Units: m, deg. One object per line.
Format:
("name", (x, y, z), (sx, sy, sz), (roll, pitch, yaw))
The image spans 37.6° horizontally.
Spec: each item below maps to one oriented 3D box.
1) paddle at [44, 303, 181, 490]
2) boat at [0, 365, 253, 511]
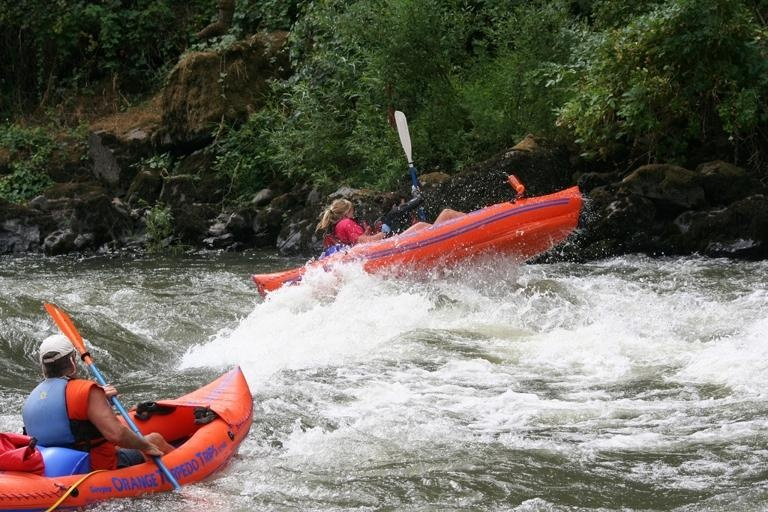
("paddle", (-3.871, 2.107, 15.999), (0.243, 3.353, 0.161), (-48, -26, 18))
("boat", (-3.265, 2.711, 15.245), (2.914, 0.865, 1.406), (-17, 29, -29))
